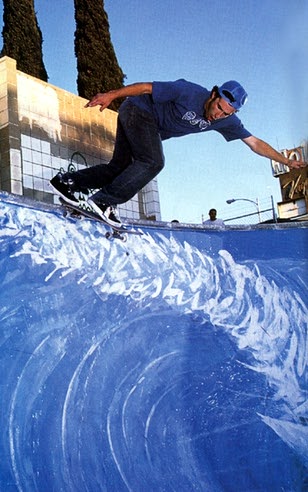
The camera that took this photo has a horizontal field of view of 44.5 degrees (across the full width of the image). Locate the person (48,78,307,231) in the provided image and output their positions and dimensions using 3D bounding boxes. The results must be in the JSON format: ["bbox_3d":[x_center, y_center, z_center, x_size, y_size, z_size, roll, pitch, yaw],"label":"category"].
[{"bbox_3d":[0.114,-0.648,2.637,1.653,0.965,0.755,-5,3,-18],"label":"person"}]

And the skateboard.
[{"bbox_3d":[-0.324,-0.145,2.386,0.581,0.169,0.177,-8,5,-42],"label":"skateboard"}]

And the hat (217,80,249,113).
[{"bbox_3d":[0.519,-0.961,2.428,0.131,0.182,0.222,-1,4,37],"label":"hat"}]
